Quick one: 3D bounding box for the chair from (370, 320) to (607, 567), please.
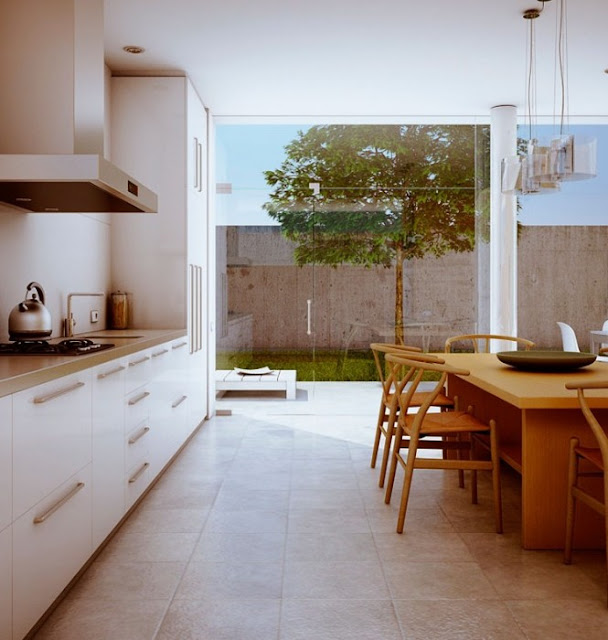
[{"bbox_3d":[1.071,0.566,3.233,1.181,0.799,1.529,-1,2,-21],"label":"chair"}]

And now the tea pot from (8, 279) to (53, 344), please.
[{"bbox_3d":[-1.414,-0.012,3.029,0.207,0.312,0.322,0,-10,-1],"label":"tea pot"}]

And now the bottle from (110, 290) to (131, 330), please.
[{"bbox_3d":[-1.388,-0.067,4.447,0.138,0.250,0.098,0,3,-4],"label":"bottle"}]
